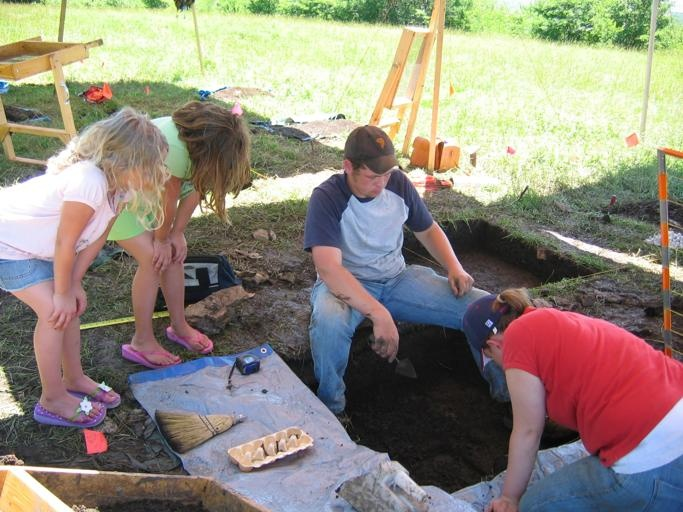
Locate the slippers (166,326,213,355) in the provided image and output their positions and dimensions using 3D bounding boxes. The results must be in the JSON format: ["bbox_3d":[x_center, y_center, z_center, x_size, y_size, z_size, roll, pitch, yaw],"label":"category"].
[{"bbox_3d":[-1.047,0.589,4.415,0.296,0.094,0.158,24,42,12],"label":"slippers"}]

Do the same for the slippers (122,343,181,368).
[{"bbox_3d":[-1.283,0.668,4.199,0.317,0.079,0.162,13,24,7],"label":"slippers"}]

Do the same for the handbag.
[{"bbox_3d":[-1.050,0.173,4.645,0.507,0.394,0.168,-9,8,-1],"label":"handbag"}]

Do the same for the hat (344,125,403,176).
[{"bbox_3d":[0.194,-0.691,4.116,0.345,0.279,0.202,4,18,-1],"label":"hat"}]

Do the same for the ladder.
[{"bbox_3d":[0.625,-2.083,7.644,0.558,1.520,0.567,-16,33,-35],"label":"ladder"}]

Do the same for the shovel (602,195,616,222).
[{"bbox_3d":[2.791,-0.515,6.654,0.121,0.182,0.867,12,19,22],"label":"shovel"}]
